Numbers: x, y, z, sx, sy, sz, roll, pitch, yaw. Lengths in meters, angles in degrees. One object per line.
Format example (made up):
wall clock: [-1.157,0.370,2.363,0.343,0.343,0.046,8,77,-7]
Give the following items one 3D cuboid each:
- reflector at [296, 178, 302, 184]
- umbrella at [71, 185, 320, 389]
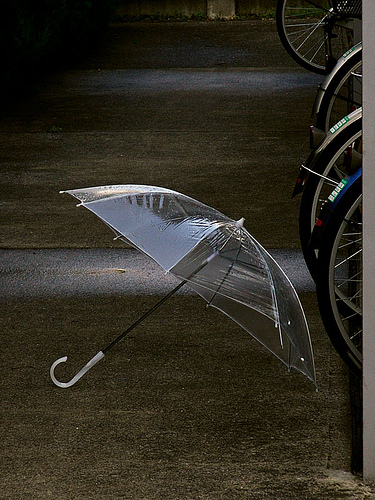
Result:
reflector: [0.547,-0.342,4.840,0.029,0.014,0.015,5,-7,13]
umbrella: [0.163,-0.018,3.734,0.272,0.832,0.839,-48,43,-10]
